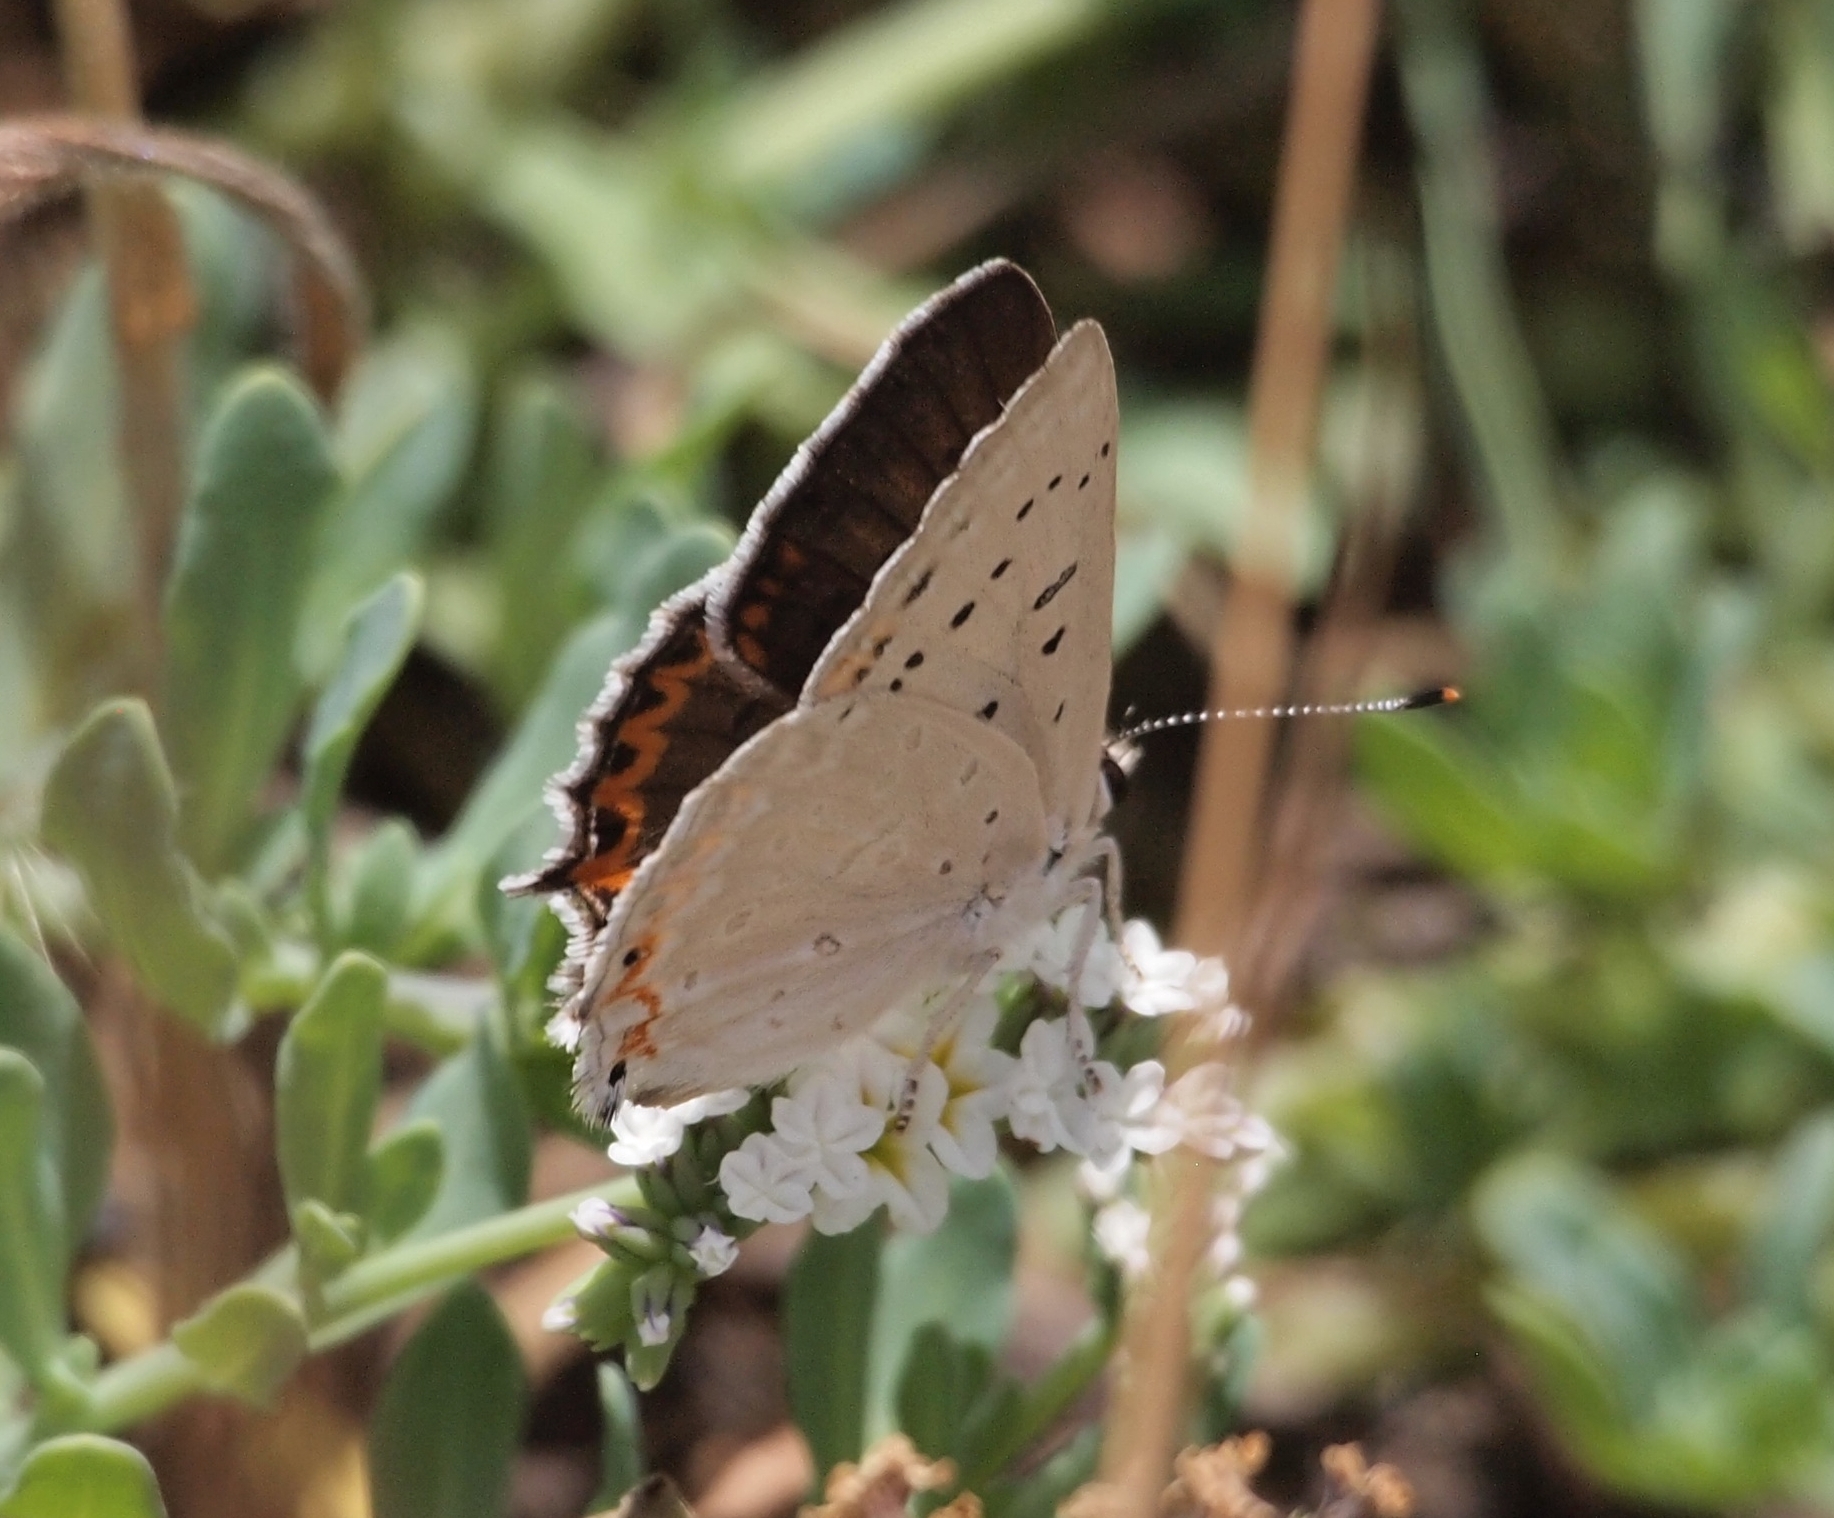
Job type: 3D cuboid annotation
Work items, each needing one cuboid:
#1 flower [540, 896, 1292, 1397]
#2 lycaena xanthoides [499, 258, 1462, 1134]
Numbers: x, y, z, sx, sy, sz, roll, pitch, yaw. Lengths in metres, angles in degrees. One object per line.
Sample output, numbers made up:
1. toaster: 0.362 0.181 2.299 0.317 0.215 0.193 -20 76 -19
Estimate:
1. flower: -0.013 0.371 2.691 0.568 0.303 0.581 -19 -3 -15
2. lycaena xanthoides: -0.007 -0.121 3.036 1.082 1.008 0.765 -4 21 -7
